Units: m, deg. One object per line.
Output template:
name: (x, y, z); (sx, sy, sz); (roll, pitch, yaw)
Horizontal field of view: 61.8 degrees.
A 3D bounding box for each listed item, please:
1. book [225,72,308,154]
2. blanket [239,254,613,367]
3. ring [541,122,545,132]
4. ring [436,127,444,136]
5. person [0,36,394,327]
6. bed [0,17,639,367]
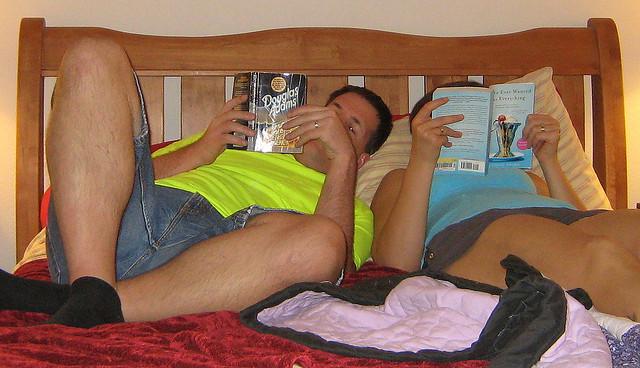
book: (-0.208, -0.303, 2.215); (0.377, 0.312, 0.082); (0, 13, 1)
blanket: (0.374, 0.453, 1.766); (0.775, 0.119, 0.502); (-2, 16, 15)
ring: (1.055, -0.264, 2.518); (0.027, 0.035, 0.010); (-4, 3, 0)
ring: (0.524, -0.229, 2.337); (0.027, 0.008, 0.029); (15, 46, -17)
person: (-0.296, -0.054, 2.166); (0.967, 0.561, 1.516); (25, 22, 20)
bed: (0.201, 0.123, 2.631); (2.222, 1.141, 2.048); (-1, 0, -5)
